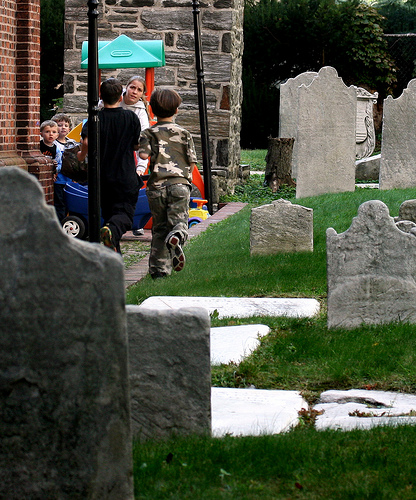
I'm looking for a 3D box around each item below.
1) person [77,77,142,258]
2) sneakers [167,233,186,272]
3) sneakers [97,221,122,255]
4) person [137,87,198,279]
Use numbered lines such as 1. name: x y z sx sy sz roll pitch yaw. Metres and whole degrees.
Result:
1. person: -0.718 -0.671 10.159 0.332 1.423 0.578 -1 5 -4
2. sneakers: -0.252 0.047 10.404 0.114 0.332 0.147 -11 12 2
3. sneakers: -0.723 -0.102 9.137 0.078 0.242 0.099 -26 17 -16
4. person: -0.353 -0.448 10.637 0.466 1.396 0.684 0 5 7
